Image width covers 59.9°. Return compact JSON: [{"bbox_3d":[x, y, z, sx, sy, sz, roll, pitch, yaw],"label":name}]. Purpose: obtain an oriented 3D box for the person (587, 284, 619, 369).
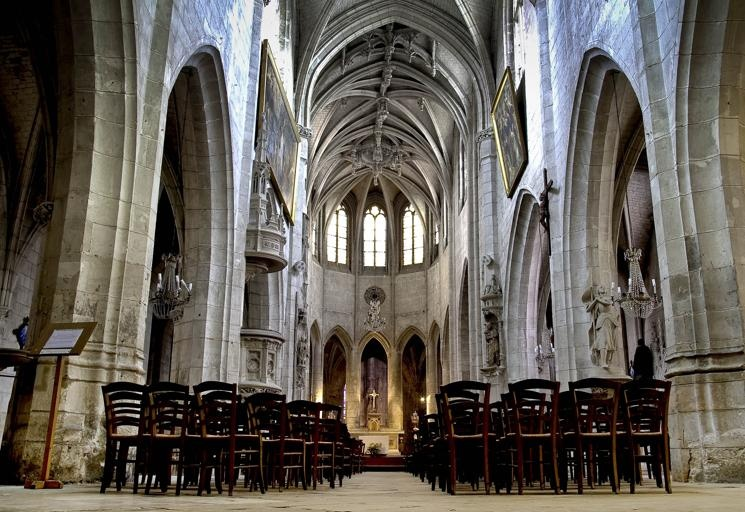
[{"bbox_3d":[5.440,1.687,15.258,0.704,1.924,0.579,-13,-23,31],"label":"person"}]
